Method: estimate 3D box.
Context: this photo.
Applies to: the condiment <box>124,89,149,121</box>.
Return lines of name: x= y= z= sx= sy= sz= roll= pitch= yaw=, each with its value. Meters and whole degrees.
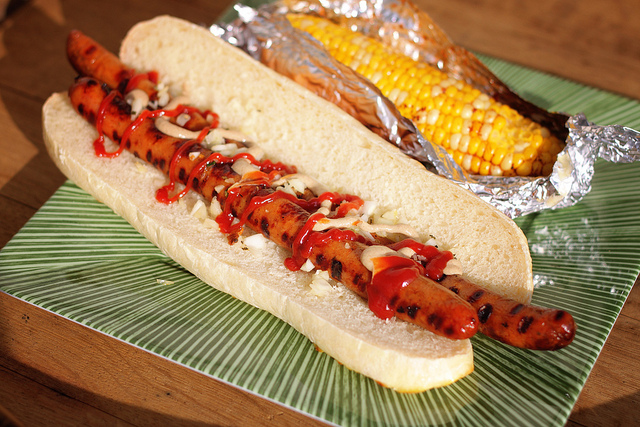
condiment: x=-1.242 y=-0.753 z=3.914 sx=0.127 sy=0.070 sz=0.234 roll=5 pitch=49 yaw=7

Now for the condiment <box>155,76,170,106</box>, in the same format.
condiment: x=-1.133 y=-0.865 z=4.125 sx=0.096 sy=0.107 sz=0.273 roll=-26 pitch=38 yaw=0

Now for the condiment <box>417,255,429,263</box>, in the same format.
condiment: x=0.609 y=0.261 z=3.442 sx=0.051 sy=0.037 sz=0.019 roll=34 pitch=95 yaw=1
